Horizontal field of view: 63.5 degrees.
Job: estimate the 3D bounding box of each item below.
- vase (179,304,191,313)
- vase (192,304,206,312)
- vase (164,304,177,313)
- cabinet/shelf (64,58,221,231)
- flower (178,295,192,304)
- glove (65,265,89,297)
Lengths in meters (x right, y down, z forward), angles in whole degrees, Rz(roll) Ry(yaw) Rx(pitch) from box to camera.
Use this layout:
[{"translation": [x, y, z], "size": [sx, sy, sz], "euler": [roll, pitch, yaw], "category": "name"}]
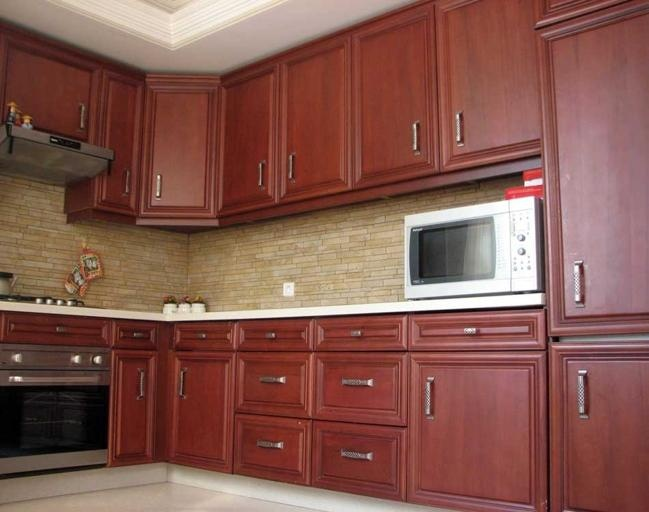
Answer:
[{"translation": [-1.093, 0.416, 4.063], "size": [0.074, 0.049, 0.074], "euler": [-2, -3, 45], "category": "vase"}, {"translation": [-0.993, 0.415, 4.099], "size": [0.081, 0.050, 0.079], "euler": [-2, -3, 34], "category": "vase"}, {"translation": [-1.207, 0.415, 4.050], "size": [0.085, 0.071, 0.079], "euler": [-1, -7, 7], "category": "vase"}, {"translation": [-1.323, -0.778, 3.717], "size": [1.175, 0.982, 0.566], "euler": [7, -13, -32], "category": "cabinet/shelf"}, {"translation": [-1.132, 0.361, 4.219], "size": [0.073, 0.039, 0.079], "euler": [0, -9, -4], "category": "flower"}, {"translation": [-1.785, 0.198, 3.747], "size": [0.062, 0.194, 0.161], "euler": [-1, -8, 41], "category": "glove"}]
